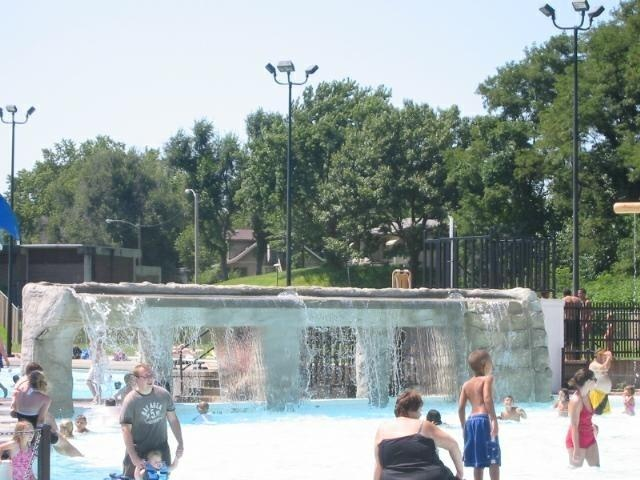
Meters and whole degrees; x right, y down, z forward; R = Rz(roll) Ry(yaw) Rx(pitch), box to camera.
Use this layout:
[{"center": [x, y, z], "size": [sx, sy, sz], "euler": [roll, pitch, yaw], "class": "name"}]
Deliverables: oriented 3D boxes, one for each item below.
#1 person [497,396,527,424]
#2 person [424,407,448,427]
[{"center": [7.347, 6.428, 56.357], "size": [0.913, 1.412, 0.858], "euler": [-19, -27, 33], "class": "person"}, {"center": [4.180, 6.606, 54.613], "size": [0.697, 0.651, 0.996], "euler": [-1, 20, -4], "class": "person"}]
